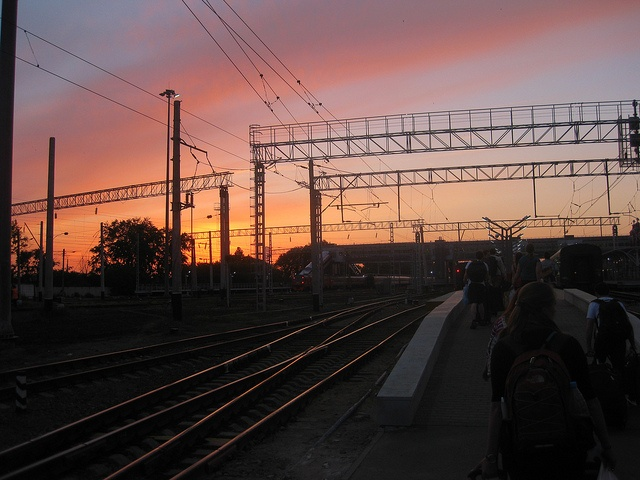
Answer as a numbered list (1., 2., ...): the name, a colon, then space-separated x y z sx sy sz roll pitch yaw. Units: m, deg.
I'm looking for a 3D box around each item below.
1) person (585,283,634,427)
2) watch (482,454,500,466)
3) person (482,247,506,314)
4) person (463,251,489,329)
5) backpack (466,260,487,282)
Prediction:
1. person: 3.929 1.435 8.505 0.660 1.806 0.873 0 -1 19
2. watch: 1.475 1.871 5.402 0.117 0.058 0.087 -1 -6 5
3. person: 4.342 1.023 15.716 0.569 1.764 0.470 2 1 11
4. person: 3.713 1.165 14.948 0.636 1.902 0.769 0 -1 20
5. backpack: 3.663 0.670 14.698 0.392 0.506 0.533 1 19 25
